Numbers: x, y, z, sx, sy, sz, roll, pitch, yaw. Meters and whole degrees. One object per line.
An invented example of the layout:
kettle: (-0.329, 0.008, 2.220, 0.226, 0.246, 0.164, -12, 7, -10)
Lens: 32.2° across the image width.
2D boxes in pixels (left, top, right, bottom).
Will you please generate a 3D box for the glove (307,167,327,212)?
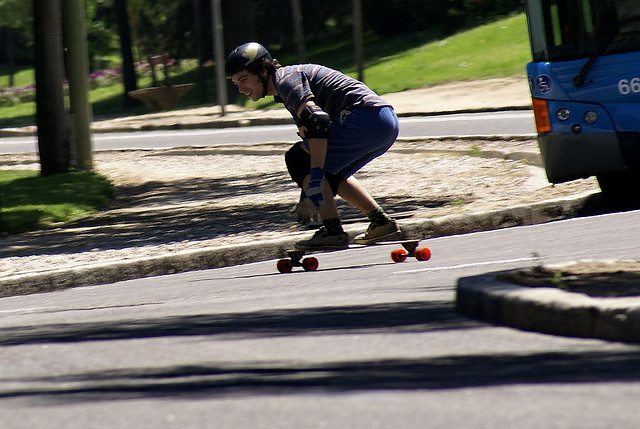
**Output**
glove: (-0.029, -0.226, 9.757, 0.170, 0.300, 0.278, -11, 3, 0)

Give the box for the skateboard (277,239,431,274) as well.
skateboard: (0.270, 0.384, 10.189, 1.446, 0.163, 0.436, -5, 4, -5)

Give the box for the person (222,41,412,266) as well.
person: (-0.152, -0.507, 10.172, 1.517, 2.133, 1.013, 1, 13, 40)
